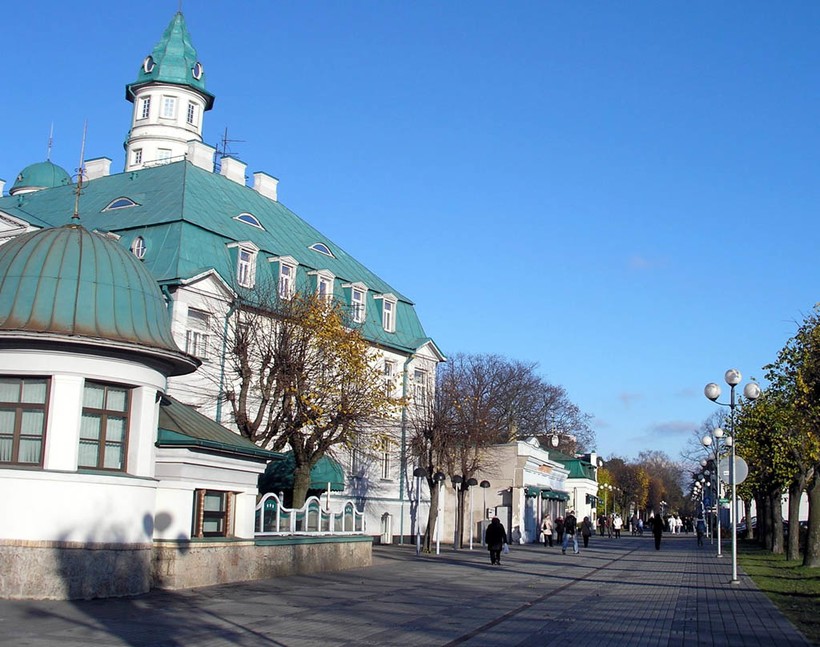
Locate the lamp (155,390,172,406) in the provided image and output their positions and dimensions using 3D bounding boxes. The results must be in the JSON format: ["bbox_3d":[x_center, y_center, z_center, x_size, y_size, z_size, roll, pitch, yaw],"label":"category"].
[{"bbox_3d":[-6.411,2.010,23.749,0.424,0.110,0.400,30,-26,-29],"label":"lamp"}]
